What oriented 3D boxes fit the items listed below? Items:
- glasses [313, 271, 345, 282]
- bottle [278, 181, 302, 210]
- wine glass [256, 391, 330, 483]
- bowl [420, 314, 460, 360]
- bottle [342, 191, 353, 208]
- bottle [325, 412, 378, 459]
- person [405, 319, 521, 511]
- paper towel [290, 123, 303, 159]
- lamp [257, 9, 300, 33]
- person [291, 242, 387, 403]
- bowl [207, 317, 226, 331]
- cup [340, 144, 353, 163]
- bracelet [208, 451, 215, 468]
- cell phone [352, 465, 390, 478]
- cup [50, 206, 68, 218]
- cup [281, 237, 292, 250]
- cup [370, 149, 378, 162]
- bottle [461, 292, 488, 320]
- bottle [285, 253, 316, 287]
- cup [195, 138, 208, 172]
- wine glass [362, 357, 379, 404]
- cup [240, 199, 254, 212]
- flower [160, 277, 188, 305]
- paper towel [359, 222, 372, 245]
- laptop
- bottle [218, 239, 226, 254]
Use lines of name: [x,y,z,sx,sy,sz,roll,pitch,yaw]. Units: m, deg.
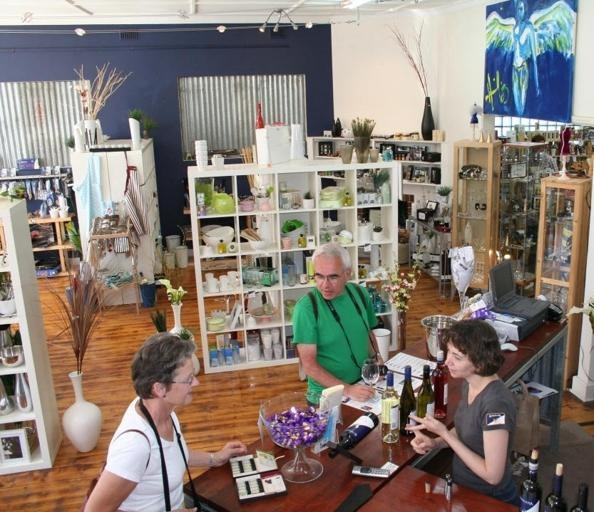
glasses: [0.187,0.124,2.886,0.164,0.070,0.077,1,14,17]
bottle: [-0.083,-0.748,5.728,0.277,0.310,0.442,-4,14,-1]
wine glass: [0.005,0.822,2.244,0.335,0.321,0.332,4,18,20]
bowl: [0.970,0.579,3.388,0.274,0.234,0.264,0,6,0]
bottle: [0.609,-0.686,5.702,0.074,0.172,0.133,8,17,40]
bottle: [0.285,0.890,2.438,0.102,0.093,0.321,1,15,36]
person: [0.829,0.813,2.324,0.452,0.985,0.423,7,17,38]
paper towel: [0.026,-1.494,6.118,0.216,0.451,0.253,3,0,-14]
lamp: [-0.372,-4.855,9.773,0.884,0.372,0.955,-4,14,-3]
person: [0.277,0.404,2.941,0.595,0.950,0.583,-6,13,-12]
bowl: [-0.980,0.824,5.730,0.221,0.127,0.173,-4,14,0]
cup: [0.598,-1.206,5.615,0.132,0.221,0.220,-2,13,3]
bracelet: [-0.415,0.992,2.290,0.013,0.057,0.041,3,5,-4]
cell phone: [0.336,0.986,2.164,0.095,0.021,0.065,1,5,2]
cup: [-4.691,-0.859,9.284,0.276,0.212,0.196,1,0,-22]
cup: [-0.123,-0.144,5.595,0.113,0.129,0.118,-1,2,0]
cup: [0.903,-1.203,5.660,0.122,0.150,0.130,-1,11,0]
bottle: [1.377,0.372,3.652,0.141,0.074,0.201,-22,30,25]
bottle: [0.008,0.168,5.819,0.450,0.480,0.250,-1,6,-11]
cup: [-1.154,-1.219,5.703,0.128,0.321,0.323,-6,14,-12]
wine glass: [0.450,0.696,2.847,0.098,0.260,0.253,-1,14,11]
cup: [-0.601,-0.597,5.648,0.181,0.117,0.210,-3,14,0]
flower: [-1.894,0.546,7.204,0.456,0.333,0.477,0,10,-7]
paper towel: [0.821,-0.269,5.774,0.197,0.250,0.227,-1,6,-5]
laptop: [1.701,0.265,3.612,0.334,0.403,0.473,9,18,42]
bottle: [-0.895,-0.118,5.630,0.111,0.159,0.105,-3,13,1]
